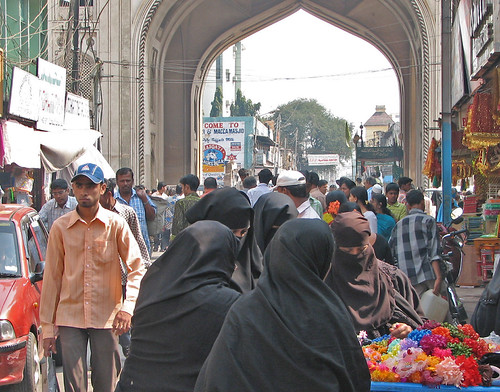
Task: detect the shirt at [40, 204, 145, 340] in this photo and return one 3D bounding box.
[{"bbox_3d":[-1.194,0.614,4.784,0.748,1.158,0.523,5,17,-2],"label":"shirt"}]

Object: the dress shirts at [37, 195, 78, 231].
[{"bbox_3d":[-2.381,0.235,7.978,0.663,0.434,0.192,2,18,-16],"label":"dress shirts"}]

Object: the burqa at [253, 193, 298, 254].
[{"bbox_3d":[0.212,0.268,6.056,0.447,0.707,0.497,0,-3,-28],"label":"burqa"}]

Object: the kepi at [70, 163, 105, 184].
[{"bbox_3d":[-1.243,-0.169,4.872,0.238,0.158,0.220,-2,2,-18],"label":"kepi"}]
